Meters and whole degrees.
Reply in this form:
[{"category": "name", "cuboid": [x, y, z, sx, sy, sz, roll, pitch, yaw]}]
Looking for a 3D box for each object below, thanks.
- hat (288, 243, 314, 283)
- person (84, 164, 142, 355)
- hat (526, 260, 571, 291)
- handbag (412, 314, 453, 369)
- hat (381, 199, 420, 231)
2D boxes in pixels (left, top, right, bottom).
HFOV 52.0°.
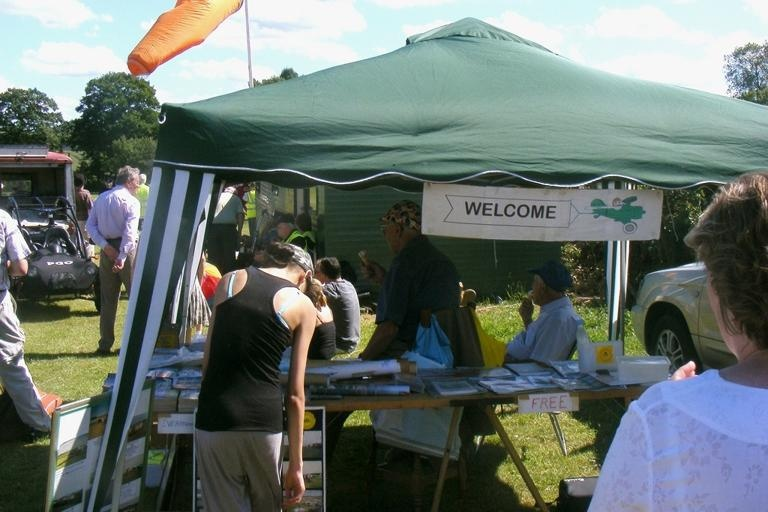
[{"category": "hat", "cuboid": [-0.628, 0.017, 5.590, 0.207, 0.188, 0.153, 2, -22, -37]}, {"category": "person", "cuboid": [-3.398, 0.043, 9.803, 0.613, 2.032, 0.780, 2, 1, -22]}, {"category": "hat", "cuboid": [1.532, 0.191, 7.271, 0.233, 0.171, 0.323, -18, 44, -40]}, {"category": "handbag", "cuboid": [0.390, 0.722, 6.684, 0.346, 0.461, 0.230, 6, 37, 13]}, {"category": "hat", "cuboid": [0.161, -0.365, 6.895, 0.220, 0.196, 0.307, -3, 14, -29]}]
